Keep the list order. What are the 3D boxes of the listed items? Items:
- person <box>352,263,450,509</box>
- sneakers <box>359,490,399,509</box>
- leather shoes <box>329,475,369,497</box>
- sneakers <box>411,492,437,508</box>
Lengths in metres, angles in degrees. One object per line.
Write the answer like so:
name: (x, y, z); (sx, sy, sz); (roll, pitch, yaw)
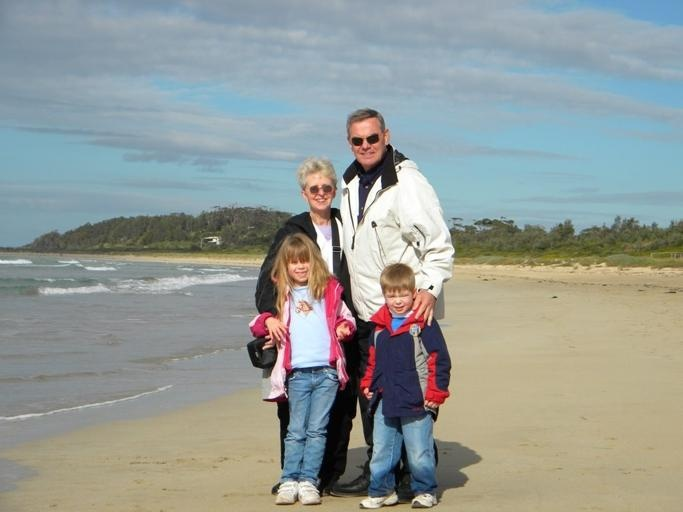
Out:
person: (0.513, 1.084, 5.929); (0.701, 2.030, 0.296); (1, 3, 2)
sneakers: (0.307, 2.038, 6.063); (0.321, 0.139, 0.122); (3, -4, -15)
leather shoes: (0.085, 2.015, 6.355); (0.383, 0.154, 0.134); (4, -3, -13)
sneakers: (0.684, 2.023, 5.966); (0.222, 0.081, 0.093); (12, -18, -35)
